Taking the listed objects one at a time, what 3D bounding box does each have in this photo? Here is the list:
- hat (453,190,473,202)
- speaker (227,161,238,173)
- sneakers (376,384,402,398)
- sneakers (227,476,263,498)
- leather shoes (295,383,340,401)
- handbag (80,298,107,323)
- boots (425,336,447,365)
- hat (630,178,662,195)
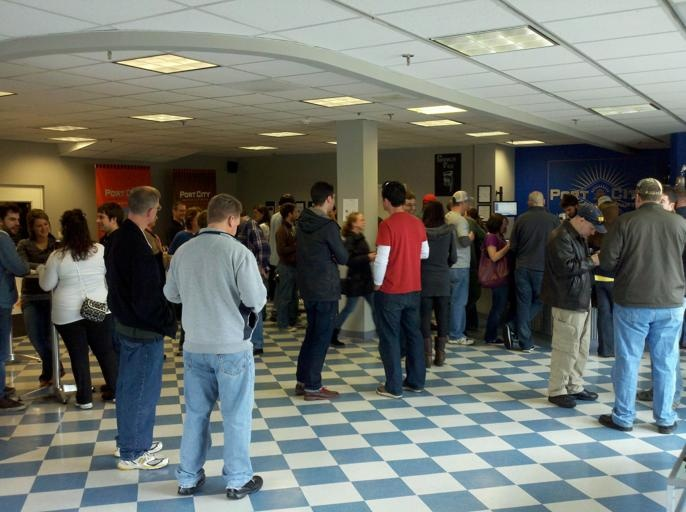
[{"bbox_3d":[1.782,-0.852,7.764,0.344,0.152,0.232,-24,27,-37],"label":"hat"},{"bbox_3d":[-3.402,-2.733,16.316,0.243,0.344,0.454,2,3,41],"label":"speaker"},{"bbox_3d":[0.490,1.452,5.673,0.115,0.101,0.278,-5,9,-39],"label":"sneakers"},{"bbox_3d":[-0.674,1.625,3.777,0.094,0.098,0.260,10,16,33],"label":"sneakers"},{"bbox_3d":[-0.263,1.449,5.592,0.321,0.104,0.184,0,1,-15],"label":"leather shoes"},{"bbox_3d":[-2.379,0.524,5.041,0.243,0.184,0.113,12,2,-42],"label":"handbag"},{"bbox_3d":[1.184,1.190,6.760,0.375,0.345,0.413,1,6,1],"label":"boots"},{"bbox_3d":[2.752,-0.608,4.794,0.224,0.131,0.277,4,14,14],"label":"hat"}]
